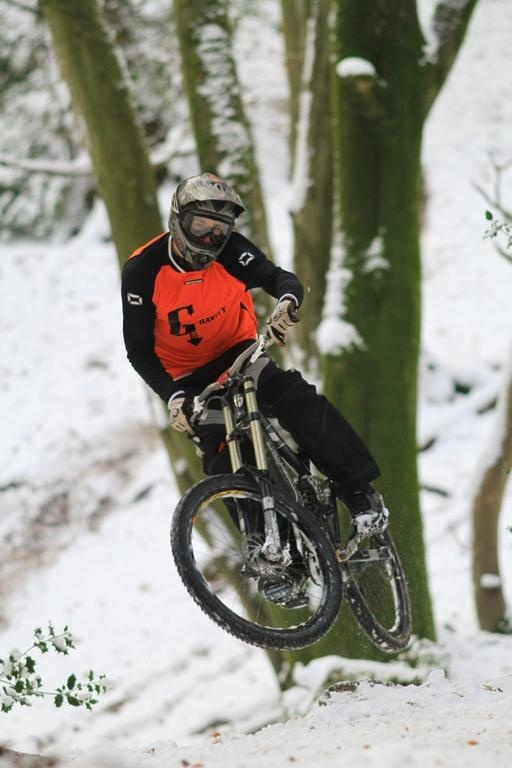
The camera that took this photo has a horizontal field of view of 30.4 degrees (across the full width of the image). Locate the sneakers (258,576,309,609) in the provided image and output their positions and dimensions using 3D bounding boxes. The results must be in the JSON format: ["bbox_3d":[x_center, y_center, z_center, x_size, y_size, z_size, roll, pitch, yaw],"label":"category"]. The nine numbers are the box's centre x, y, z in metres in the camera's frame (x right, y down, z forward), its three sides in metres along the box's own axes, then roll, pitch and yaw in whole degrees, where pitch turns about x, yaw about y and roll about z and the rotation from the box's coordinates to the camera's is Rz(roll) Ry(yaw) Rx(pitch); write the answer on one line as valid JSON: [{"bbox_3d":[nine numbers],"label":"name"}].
[{"bbox_3d":[0.132,0.981,4.422,0.215,0.210,0.102,26,80,32],"label":"sneakers"}]

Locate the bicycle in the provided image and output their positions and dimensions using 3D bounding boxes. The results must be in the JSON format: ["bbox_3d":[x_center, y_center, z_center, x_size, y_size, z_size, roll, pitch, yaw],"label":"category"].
[{"bbox_3d":[0.194,0.695,4.584,1.057,1.971,1.222,-3,42,6],"label":"bicycle"}]

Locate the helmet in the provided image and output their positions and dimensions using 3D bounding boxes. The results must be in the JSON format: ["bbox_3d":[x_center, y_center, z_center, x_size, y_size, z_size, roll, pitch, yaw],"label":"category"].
[{"bbox_3d":[-0.242,-0.805,4.626,0.368,0.418,0.443,5,23,-26],"label":"helmet"}]

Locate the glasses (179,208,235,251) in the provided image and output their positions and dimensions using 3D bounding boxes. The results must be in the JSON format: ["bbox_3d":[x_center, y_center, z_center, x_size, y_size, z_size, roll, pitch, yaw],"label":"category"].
[{"bbox_3d":[-0.218,-0.742,4.616,0.195,0.212,0.228,23,3,-2],"label":"glasses"}]

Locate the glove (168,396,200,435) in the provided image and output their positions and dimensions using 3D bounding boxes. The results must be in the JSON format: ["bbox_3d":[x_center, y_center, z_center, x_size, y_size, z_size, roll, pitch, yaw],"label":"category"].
[{"bbox_3d":[-0.371,0.141,4.609,0.187,0.137,0.165,10,58,-15],"label":"glove"}]
